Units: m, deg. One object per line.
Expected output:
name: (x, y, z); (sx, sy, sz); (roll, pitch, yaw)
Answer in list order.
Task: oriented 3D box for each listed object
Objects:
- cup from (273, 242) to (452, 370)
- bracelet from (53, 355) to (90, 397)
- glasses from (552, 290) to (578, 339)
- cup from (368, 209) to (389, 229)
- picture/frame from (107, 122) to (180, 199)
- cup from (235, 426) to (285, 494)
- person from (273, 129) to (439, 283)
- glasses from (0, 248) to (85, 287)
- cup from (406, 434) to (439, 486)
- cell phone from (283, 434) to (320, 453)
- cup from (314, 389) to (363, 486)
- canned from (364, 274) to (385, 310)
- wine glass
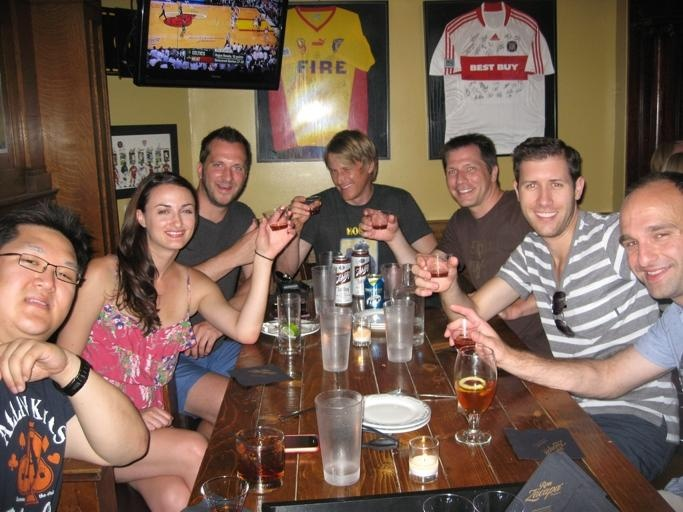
cup: (0.153, 0.210, 2.488); (0.475, 0.559, 0.505); (-1, -3, 0)
bracelet: (-0.824, 0.367, 1.668); (0.094, 0.066, 0.104); (-38, -23, -20)
glasses: (0.964, 0.250, 2.384); (0.067, 0.216, 0.082); (-9, 2, 28)
cup: (0.196, -0.200, 3.010); (0.121, 0.091, 0.079); (8, 14, 35)
picture/frame: (-1.449, -0.701, 4.025); (0.586, 0.436, 0.010); (-1, 4, 19)
cup: (-0.248, 0.617, 1.622); (0.157, 0.174, 0.179); (1, -17, -9)
person: (0.048, -0.060, 3.708); (0.998, 1.517, 0.844); (0, 12, 15)
glasses: (-0.950, 0.041, 1.748); (0.227, 0.131, 0.121); (-10, 9, -36)
cup: (0.230, 0.581, 1.557); (0.103, 0.122, 0.106); (-1, 1, 0)
cell phone: (-0.126, 0.575, 1.674); (0.084, 0.015, 0.047); (1, 26, 2)
cup: (-0.008, 0.533, 1.588); (0.141, 0.226, 0.142); (-2, -1, 0)
canned: (0.154, 0.178, 2.701); (0.117, 0.192, 0.120); (1, 21, 12)
wine glass: (0.429, 0.430, 1.764); (0.132, 0.277, 0.254); (-2, 8, 13)
